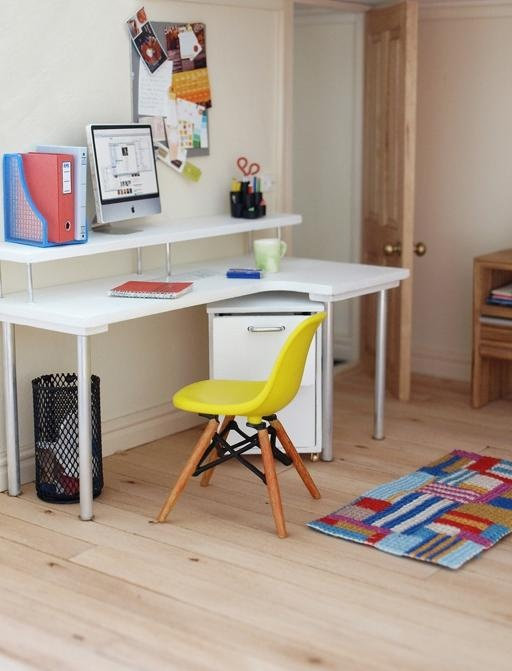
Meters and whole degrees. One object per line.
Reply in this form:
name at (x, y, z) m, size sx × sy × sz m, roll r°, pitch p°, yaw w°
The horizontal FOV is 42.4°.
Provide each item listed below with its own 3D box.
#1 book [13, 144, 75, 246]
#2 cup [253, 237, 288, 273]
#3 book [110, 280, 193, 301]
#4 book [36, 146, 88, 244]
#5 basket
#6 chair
book at (-0.669, -0.438, 2.094) m, size 0.295 × 0.271 × 0.107 m, roll 16°, pitch 21°, yaw 41°
cup at (0.054, -0.331, 2.744) m, size 0.167 × 0.131 × 0.107 m, roll -7°, pitch 8°, yaw -44°
book at (-0.341, -0.155, 2.248) m, size 0.235 × 0.051 × 0.239 m, roll 2°, pitch 8°, yaw 17°
book at (-0.618, -0.444, 2.090) m, size 0.045 × 0.351 × 0.305 m, roll -7°, pitch 13°, yaw -43°
basket at (-0.672, 0.376, 2.411) m, size 0.273 × 0.400 × 0.242 m, roll -1°, pitch -4°, yaw -26°
chair at (-0.036, 0.262, 2.112) m, size 0.505 × 0.596 × 0.416 m, roll 0°, pitch 5°, yaw 13°
